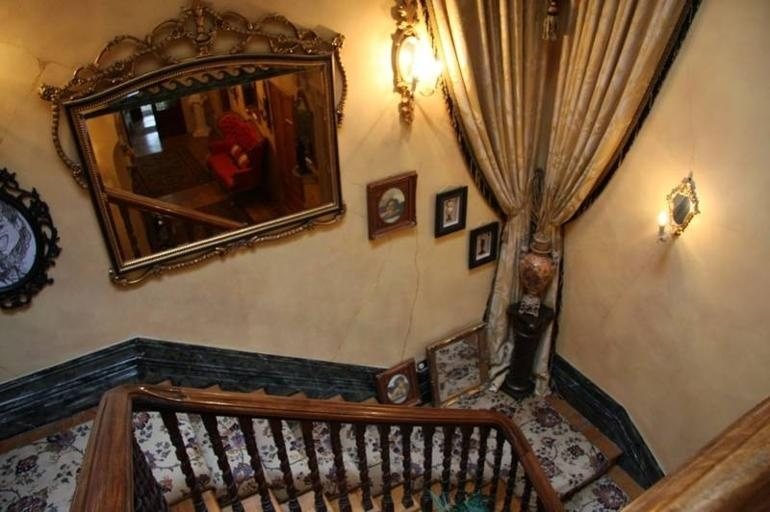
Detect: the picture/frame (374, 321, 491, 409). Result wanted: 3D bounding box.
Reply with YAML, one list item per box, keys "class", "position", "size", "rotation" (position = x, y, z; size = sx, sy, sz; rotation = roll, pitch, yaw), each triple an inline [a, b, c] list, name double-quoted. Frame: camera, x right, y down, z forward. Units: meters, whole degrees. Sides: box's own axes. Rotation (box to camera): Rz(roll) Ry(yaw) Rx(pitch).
- class: "picture/frame"
  position: [0.419, 1.002, 4.902]
  size: [0.860, 0.520, 0.065]
  rotation: [-22, 31, -14]

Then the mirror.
- class: "mirror"
  position: [-1.291, -0.756, 3.325]
  size: [1.738, 1.724, 0.095]
  rotation: [-23, 47, -22]
